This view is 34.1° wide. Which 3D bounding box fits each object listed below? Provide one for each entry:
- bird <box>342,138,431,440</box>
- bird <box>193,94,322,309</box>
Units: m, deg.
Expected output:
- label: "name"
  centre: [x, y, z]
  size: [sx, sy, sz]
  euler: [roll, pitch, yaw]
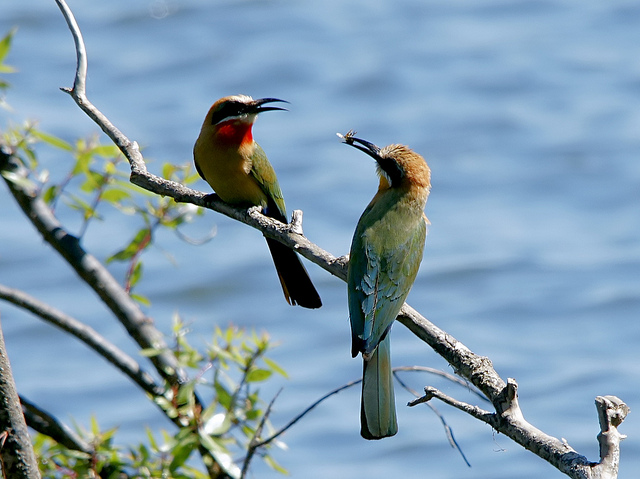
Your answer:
- label: "bird"
  centre: [0.393, 0.205, 5.473]
  size: [0.522, 1.622, 0.489]
  euler: [-5, -36, 1]
- label: "bird"
  centre: [-0.397, -0.273, 5.956]
  size: [0.538, 1.282, 0.891]
  euler: [-26, -40, 32]
